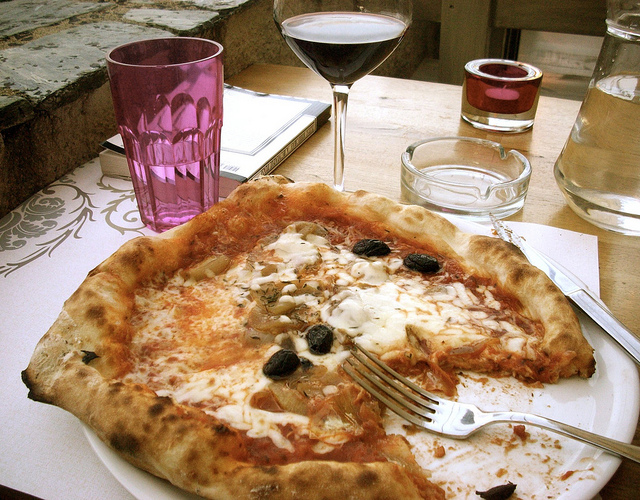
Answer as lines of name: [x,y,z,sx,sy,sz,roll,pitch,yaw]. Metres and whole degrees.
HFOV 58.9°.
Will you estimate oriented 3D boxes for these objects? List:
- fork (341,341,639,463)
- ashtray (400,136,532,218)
fork: [0.242,0.214,0.777,0.352,0.066,0.048,12,41,21]
ashtray: [0.312,-0.156,1.201,0.264,0.105,0.278,-7,28,-12]
